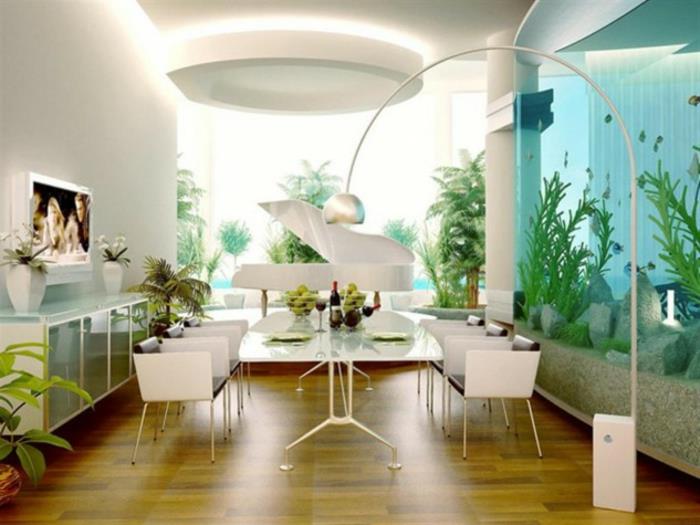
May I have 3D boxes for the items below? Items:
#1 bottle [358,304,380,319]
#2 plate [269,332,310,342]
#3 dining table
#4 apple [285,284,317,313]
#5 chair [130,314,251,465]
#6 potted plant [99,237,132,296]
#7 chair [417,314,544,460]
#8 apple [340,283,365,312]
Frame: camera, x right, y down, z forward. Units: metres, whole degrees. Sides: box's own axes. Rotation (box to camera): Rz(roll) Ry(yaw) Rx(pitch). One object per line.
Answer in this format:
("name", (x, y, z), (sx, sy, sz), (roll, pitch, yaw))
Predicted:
("bottle", (0.158, 0.475, 4.611), (0.203, 0.099, 0.156), (-8, -6, 29))
("plate", (-0.477, 0.601, 3.986), (0.344, 0.040, 0.253), (0, 3, -7))
("dining table", (-0.079, 1.190, 4.326), (1.264, 0.993, 2.096), (-2, -17, 1))
("apple", (-0.521, 0.419, 5.548), (0.300, 0.286, 0.315), (0, -6, -4))
("chair", (-1.410, 1.078, 4.437), (0.718, 0.931, 1.193), (0, 4, -1))
("potted plant", (-2.687, 0.025, 5.724), (0.314, 0.605, 0.348), (1, -1, 33))
("chair", (1.100, 1.032, 4.549), (0.867, 1.183, 1.191), (1, -3, -5))
("apple", (0.034, 0.381, 5.226), (0.227, 0.229, 0.258), (0, -6, -3))
